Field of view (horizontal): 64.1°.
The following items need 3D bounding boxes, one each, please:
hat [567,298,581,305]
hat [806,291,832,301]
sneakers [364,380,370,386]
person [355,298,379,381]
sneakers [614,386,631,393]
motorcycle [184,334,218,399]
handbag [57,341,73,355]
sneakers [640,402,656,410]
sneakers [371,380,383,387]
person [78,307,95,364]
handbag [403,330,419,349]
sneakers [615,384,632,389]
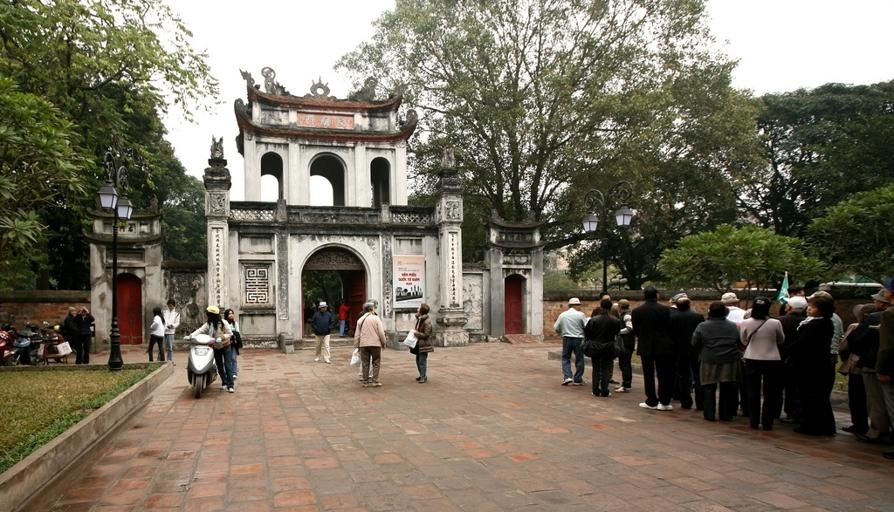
[{"bbox_3d":[3.680,1.317,20.525,0.463,0.154,0.469,-1,-6,1],"label":"hat"},{"bbox_3d":[8.871,0.959,17.030,0.463,0.152,0.313,-1,-4,41],"label":"hat"},{"bbox_3d":[-2.304,3.661,20.531,0.187,0.081,0.224,1,-1,-5],"label":"sneakers"},{"bbox_3d":[-2.259,2.552,20.960,0.835,2.392,0.881,-1,-3,-6],"label":"person"},{"bbox_3d":[4.929,3.741,19.970,0.413,0.141,0.164,3,7,2],"label":"sneakers"},{"bbox_3d":[-6.804,3.030,19.850,0.709,1.704,1.020,0,-4,-17],"label":"motorcycle"},{"bbox_3d":[-12.501,3.017,23.355,0.459,0.401,0.188,13,3,9],"label":"handbag"},{"bbox_3d":[5.229,3.886,18.525,0.147,0.137,0.389,-1,4,-40],"label":"sneakers"},{"bbox_3d":[-1.999,3.672,20.615,0.130,0.185,0.289,3,6,43],"label":"sneakers"},{"bbox_3d":[-12.227,2.670,24.106,0.402,1.881,1.351,1,-4,-27],"label":"person"},{"bbox_3d":[-1.085,2.437,20.954,0.303,0.531,0.570,0,-4,-20],"label":"handbag"},{"bbox_3d":[4.944,3.688,19.991,0.374,0.127,0.148,2,2,11],"label":"sneakers"}]
